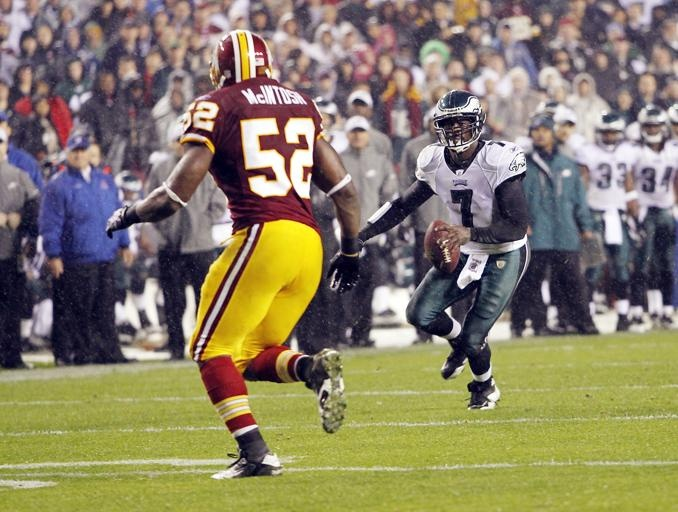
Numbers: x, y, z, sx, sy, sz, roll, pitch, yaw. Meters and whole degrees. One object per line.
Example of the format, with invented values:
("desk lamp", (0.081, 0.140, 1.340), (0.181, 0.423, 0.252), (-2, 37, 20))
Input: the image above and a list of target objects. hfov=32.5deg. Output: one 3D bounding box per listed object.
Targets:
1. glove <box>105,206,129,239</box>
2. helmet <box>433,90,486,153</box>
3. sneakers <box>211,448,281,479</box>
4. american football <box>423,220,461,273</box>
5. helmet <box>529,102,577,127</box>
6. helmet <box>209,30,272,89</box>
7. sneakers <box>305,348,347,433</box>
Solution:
("glove", (-1.236, -0.193, 6.457), (0.104, 0.161, 0.295), (-1, -1, -14))
("helmet", (0.777, -0.897, 7.801), (0.322, 0.388, 0.421), (-3, -16, -3))
("sneakers", (-0.521, 1.115, 6.248), (0.411, 0.195, 0.144), (-1, -6, -3))
("american football", (0.683, -0.051, 7.851), (0.299, 0.243, 0.403), (0, 14, -2))
("helmet", (2.102, -1.388, 11.433), (0.327, 0.196, 0.262), (34, 2, 12))
("helmet", (-0.536, -1.097, 6.552), (0.310, 0.385, 0.380), (-9, 10, -15))
("sneakers", (-0.089, 0.701, 6.256), (0.164, 0.488, 0.217), (-10, 2, -30))
